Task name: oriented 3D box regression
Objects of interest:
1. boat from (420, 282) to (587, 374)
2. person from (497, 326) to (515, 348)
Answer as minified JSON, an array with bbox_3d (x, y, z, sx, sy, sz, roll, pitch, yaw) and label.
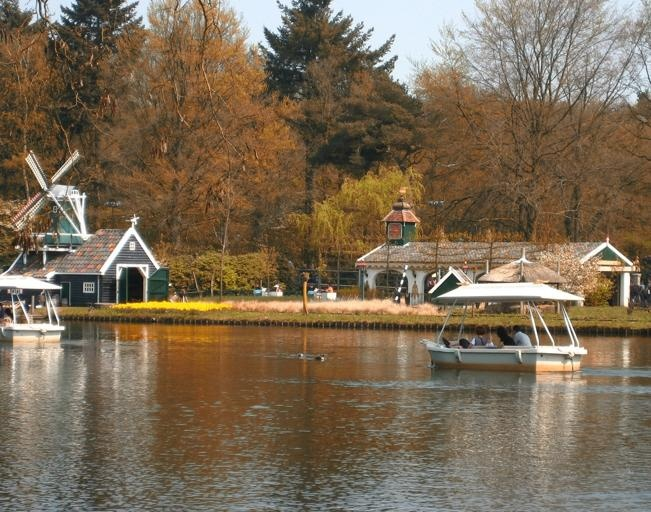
[{"bbox_3d":[7.095,3.035,59.496,5.489,2.807,4.067,1,-2,25],"label":"boat"},{"bbox_3d":[7.188,3.196,59.345,0.549,0.831,0.408,-23,0,-41],"label":"person"}]
